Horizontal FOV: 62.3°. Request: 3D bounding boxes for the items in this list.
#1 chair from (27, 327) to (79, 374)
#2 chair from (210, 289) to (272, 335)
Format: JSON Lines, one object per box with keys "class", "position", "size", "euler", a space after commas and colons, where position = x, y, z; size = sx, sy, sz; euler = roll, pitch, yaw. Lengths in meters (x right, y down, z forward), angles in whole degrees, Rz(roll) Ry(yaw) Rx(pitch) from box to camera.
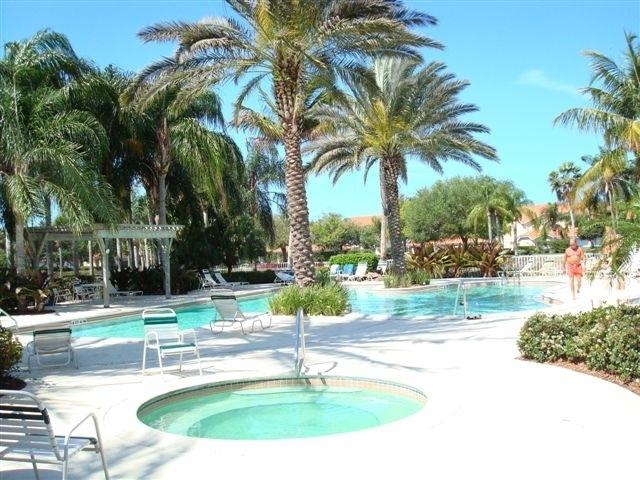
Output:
{"class": "chair", "position": [-5.236, 2.027, 10.356], "size": [0.771, 0.837, 1.213], "euler": [1, 2, -18]}
{"class": "chair", "position": [-2.185, 1.863, 13.701], "size": [0.910, 1.258, 1.776], "euler": [-1, 0, 24]}
